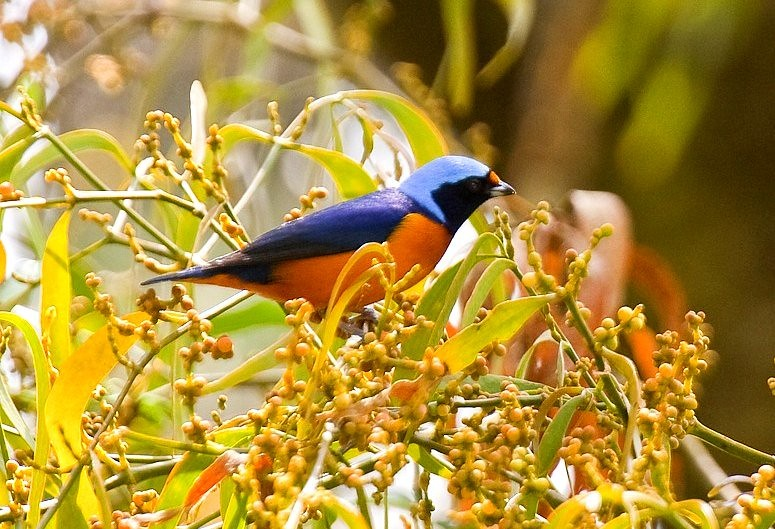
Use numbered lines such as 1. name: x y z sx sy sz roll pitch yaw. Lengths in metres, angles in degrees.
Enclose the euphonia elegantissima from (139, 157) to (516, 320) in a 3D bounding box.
1. euphonia elegantissima: -0.134 -0.048 2.439 0.873 0.268 0.438 2 80 5
